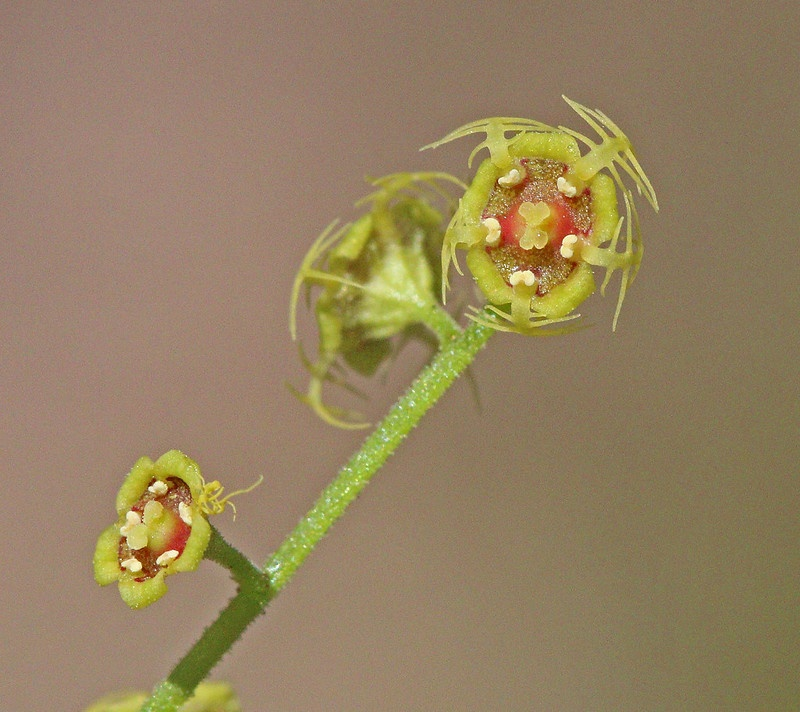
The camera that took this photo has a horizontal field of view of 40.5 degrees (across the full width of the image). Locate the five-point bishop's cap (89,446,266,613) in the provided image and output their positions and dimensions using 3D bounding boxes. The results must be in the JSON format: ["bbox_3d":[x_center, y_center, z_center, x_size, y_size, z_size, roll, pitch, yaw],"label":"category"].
[{"bbox_3d":[-0.492,0.348,2.196,0.291,0.199,0.230,-25,15,-21],"label":"five-point bishop's cap"}]
